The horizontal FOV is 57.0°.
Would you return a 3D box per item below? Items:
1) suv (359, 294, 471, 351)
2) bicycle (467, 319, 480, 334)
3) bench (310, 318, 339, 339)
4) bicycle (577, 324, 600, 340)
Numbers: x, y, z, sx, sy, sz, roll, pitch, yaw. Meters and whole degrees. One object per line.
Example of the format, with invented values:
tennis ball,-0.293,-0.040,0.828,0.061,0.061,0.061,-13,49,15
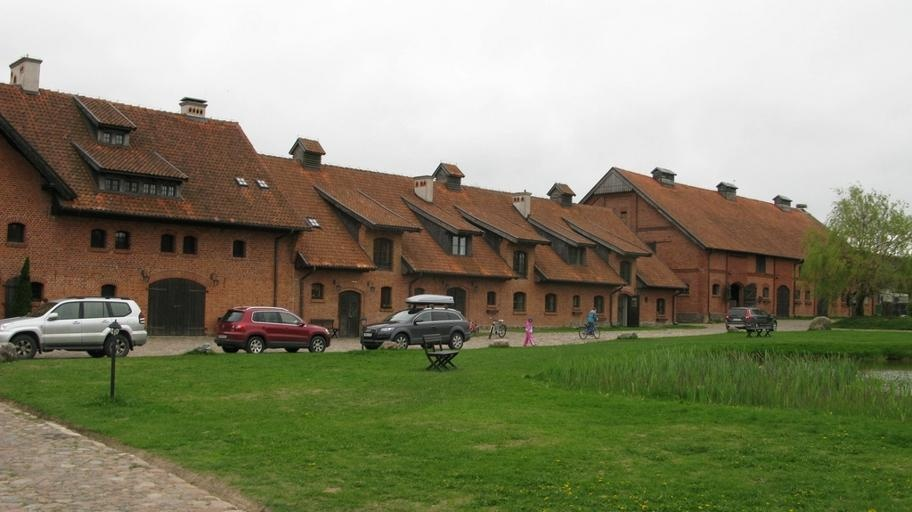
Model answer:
suv,-1.985,4.184,46.010,5.818,2.216,1.716,-6,13,-32
bicycle,1.443,5.222,60.184,0.766,0.832,1.674,-2,-5,12
bench,-7.899,4.382,50.085,1.847,1.005,0.697,4,-3,-38
bicycle,9.227,5.196,57.844,1.893,0.936,0.864,0,7,-22
